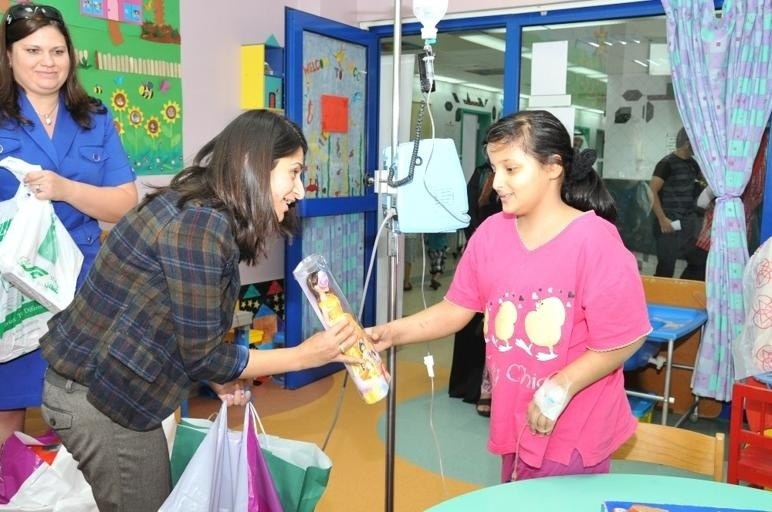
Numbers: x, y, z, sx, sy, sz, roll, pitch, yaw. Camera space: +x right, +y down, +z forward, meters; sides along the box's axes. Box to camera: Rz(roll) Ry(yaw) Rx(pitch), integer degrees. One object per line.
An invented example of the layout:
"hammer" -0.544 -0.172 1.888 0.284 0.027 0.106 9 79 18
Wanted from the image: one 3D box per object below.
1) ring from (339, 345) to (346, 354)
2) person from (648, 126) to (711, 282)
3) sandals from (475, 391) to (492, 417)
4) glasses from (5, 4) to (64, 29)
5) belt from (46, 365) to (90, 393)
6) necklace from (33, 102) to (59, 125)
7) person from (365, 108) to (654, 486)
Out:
"ring" -0.140 0.300 1.841 0.005 0.019 0.019 6 8 37
"person" 1.915 -0.355 3.816 0.317 0.936 0.087 7 13 29
"sandals" 0.668 1.036 3.950 0.078 0.060 0.222 0 0 5
"glasses" -1.381 -0.937 2.235 0.185 0.108 0.151 7 13 29
"belt" -0.954 0.371 1.749 0.112 0.045 0.070 30 -15 -9
"necklace" -1.366 -0.568 2.319 0.041 0.083 0.077 -7 3 -7
"person" 0.468 0.157 1.940 0.764 1.261 0.417 4 12 17
